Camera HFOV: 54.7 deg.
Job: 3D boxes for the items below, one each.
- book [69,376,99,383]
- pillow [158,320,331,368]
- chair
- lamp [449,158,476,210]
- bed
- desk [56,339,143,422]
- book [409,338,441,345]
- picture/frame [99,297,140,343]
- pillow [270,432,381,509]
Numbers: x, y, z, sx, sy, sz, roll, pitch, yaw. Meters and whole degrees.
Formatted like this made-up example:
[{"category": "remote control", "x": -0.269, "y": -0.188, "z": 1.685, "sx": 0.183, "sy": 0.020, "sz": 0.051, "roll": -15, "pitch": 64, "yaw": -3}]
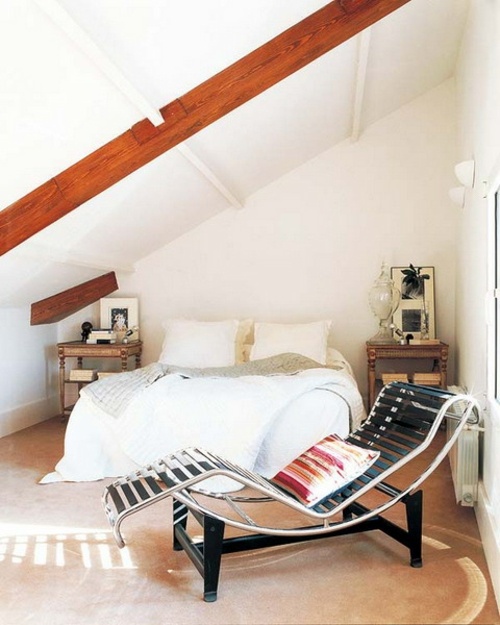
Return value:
[{"category": "book", "x": -1.584, "y": 0.632, "z": 4.568, "sx": 0.203, "sy": 0.038, "sz": 0.195, "roll": 0, "pitch": -2, "yaw": -11}, {"category": "pillow", "x": -0.096, "y": 0.264, "z": 4.298, "sx": 1.232, "sy": 0.450, "sz": 0.476, "roll": -3, "pitch": -25, "yaw": 6}, {"category": "chair", "x": 0.210, "y": 0.706, "z": 2.173, "sx": 1.659, "sy": 0.711, "sz": 0.995, "roll": -1, "pitch": 0, "yaw": -17}, {"category": "lamp", "x": 1.524, "y": -0.928, "z": 3.494, "sx": 0.128, "sy": 0.272, "sz": 1.160, "roll": -1, "pitch": 0, "yaw": 22}, {"category": "bed", "x": -0.300, "y": 0.567, "z": 3.886, "sx": 2.015, "sy": 0.821, "sz": 2.137, "roll": 0, "pitch": 0, "yaw": -7}, {"category": "desk", "x": -1.471, "y": 0.644, "z": 4.781, "sx": 0.747, "sy": 0.659, "sz": 0.466, "roll": 0, "pitch": 1, "yaw": 7}, {"category": "book", "x": 1.536, "y": 0.260, "z": 4.257, "sx": 0.234, "sy": 0.038, "sz": 0.361, "roll": -1, "pitch": 0, "yaw": 18}, {"category": "picture/frame", "x": -1.361, "y": 0.083, "z": 5.008, "sx": 0.473, "sy": 0.558, "sz": 0.050, "roll": 3, "pitch": -10, "yaw": -1}, {"category": "pillow", "x": 0.298, "y": 0.625, "z": 1.927, "sx": 0.247, "sy": 0.059, "sz": 0.250, "roll": -27, "pitch": 8, "yaw": -6}]
